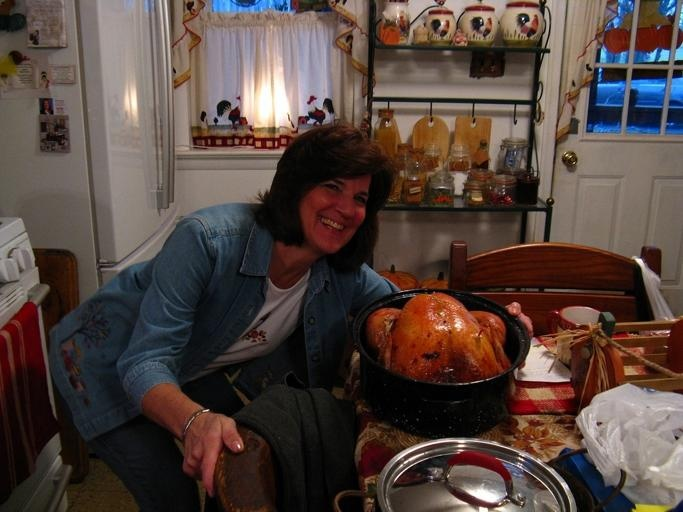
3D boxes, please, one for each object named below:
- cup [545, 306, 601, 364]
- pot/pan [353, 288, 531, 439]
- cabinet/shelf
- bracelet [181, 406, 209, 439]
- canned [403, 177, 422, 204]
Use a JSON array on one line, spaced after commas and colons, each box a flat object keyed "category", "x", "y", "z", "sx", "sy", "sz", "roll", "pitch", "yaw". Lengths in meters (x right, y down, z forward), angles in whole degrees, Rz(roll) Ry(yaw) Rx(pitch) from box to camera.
[{"category": "cup", "x": 0.533, "y": 0.162, "z": 1.201, "sx": 0.097, "sy": 0.128, "sz": 0.166, "roll": -4, "pitch": 8, "yaw": -8}, {"category": "pot/pan", "x": 0.192, "y": 0.198, "z": 1.017, "sx": 0.333, "sy": 0.183, "sz": 0.334, "roll": 5, "pitch": 15, "yaw": 23}, {"category": "cabinet/shelf", "x": 0.556, "y": -0.799, "z": 2.494, "sx": 0.952, "sy": 1.194, "sz": 0.422, "roll": 1, "pitch": 29, "yaw": 1}, {"category": "bracelet", "x": -0.278, "y": 0.306, "z": 0.960, "sx": 0.013, "sy": 0.053, "sz": 0.052, "roll": 26, "pitch": 2, "yaw": -12}, {"category": "canned", "x": 0.341, "y": -0.318, "z": 2.431, "sx": 0.071, "sy": 0.132, "sz": 0.125, "roll": 4, "pitch": 27, "yaw": 10}]
